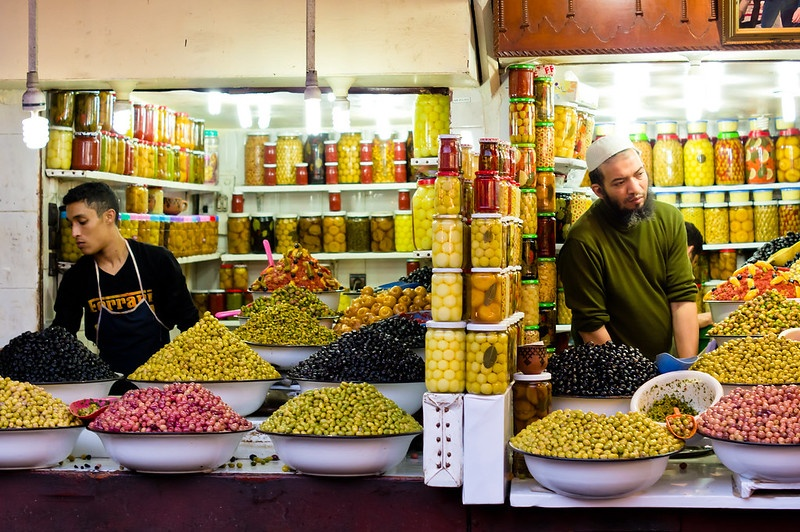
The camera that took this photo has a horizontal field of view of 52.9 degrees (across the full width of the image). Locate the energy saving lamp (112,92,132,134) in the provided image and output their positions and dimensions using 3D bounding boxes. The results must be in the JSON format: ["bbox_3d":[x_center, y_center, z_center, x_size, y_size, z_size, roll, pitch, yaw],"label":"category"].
[{"bbox_3d":[-1.536,-0.862,4.488,0.080,0.228,0.238,-3,8,-14],"label":"energy saving lamp"}]

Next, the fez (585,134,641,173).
[{"bbox_3d":[1.122,-0.628,4.279,0.201,0.111,0.202,-26,14,-15],"label":"fez"}]

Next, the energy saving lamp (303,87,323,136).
[{"bbox_3d":[-0.447,-0.788,4.057,0.113,0.254,0.115,-1,-11,19],"label":"energy saving lamp"}]

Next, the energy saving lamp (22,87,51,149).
[{"bbox_3d":[-1.816,-0.748,4.027,0.104,0.288,0.179,-5,8,-26],"label":"energy saving lamp"}]

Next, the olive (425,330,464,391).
[{"bbox_3d":[0.182,0.359,3.127,0.139,0.234,0.126,-4,3,14],"label":"olive"}]

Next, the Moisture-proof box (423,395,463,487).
[{"bbox_3d":[0.164,0.667,3.057,0.141,0.360,0.102,3,5,10],"label":"Moisture-proof box"}]
